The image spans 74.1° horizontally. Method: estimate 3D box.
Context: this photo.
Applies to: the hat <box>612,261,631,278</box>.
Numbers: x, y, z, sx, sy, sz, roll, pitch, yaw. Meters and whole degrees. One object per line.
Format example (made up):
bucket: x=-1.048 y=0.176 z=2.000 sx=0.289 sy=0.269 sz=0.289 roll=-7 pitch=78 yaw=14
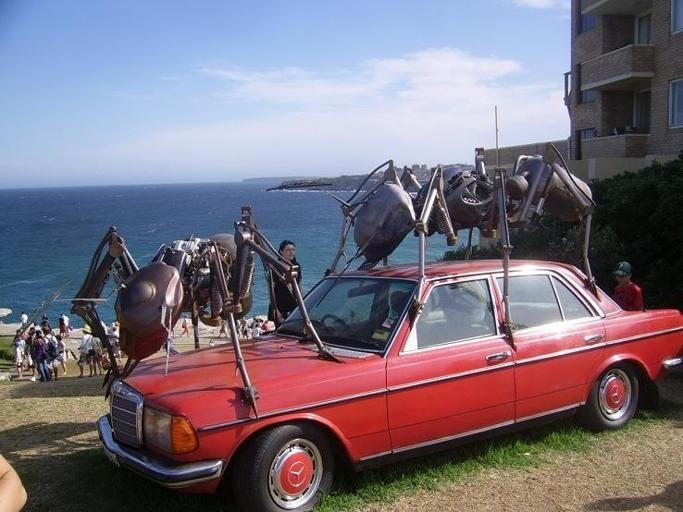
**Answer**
hat: x=4.772 y=0.222 z=7.744 sx=0.316 sy=0.279 sz=0.480 roll=1 pitch=4 yaw=44
